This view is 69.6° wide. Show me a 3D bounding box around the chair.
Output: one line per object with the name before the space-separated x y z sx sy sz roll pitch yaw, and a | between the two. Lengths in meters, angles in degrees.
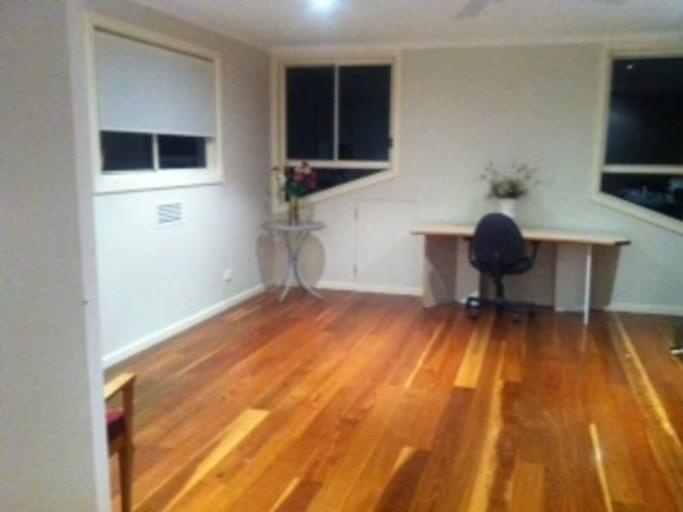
chair | 1.552 0.083 4.777 0.681 0.992 0.635 -1 9 9

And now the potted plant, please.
potted plant | 1.735 -0.677 5.107 0.530 0.678 0.602 7 11 40

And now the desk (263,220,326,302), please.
desk | -0.511 0.016 5.355 0.549 0.699 0.611 4 10 26

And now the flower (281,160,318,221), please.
flower | -0.476 -0.659 5.231 0.293 0.627 0.430 3 -2 1
